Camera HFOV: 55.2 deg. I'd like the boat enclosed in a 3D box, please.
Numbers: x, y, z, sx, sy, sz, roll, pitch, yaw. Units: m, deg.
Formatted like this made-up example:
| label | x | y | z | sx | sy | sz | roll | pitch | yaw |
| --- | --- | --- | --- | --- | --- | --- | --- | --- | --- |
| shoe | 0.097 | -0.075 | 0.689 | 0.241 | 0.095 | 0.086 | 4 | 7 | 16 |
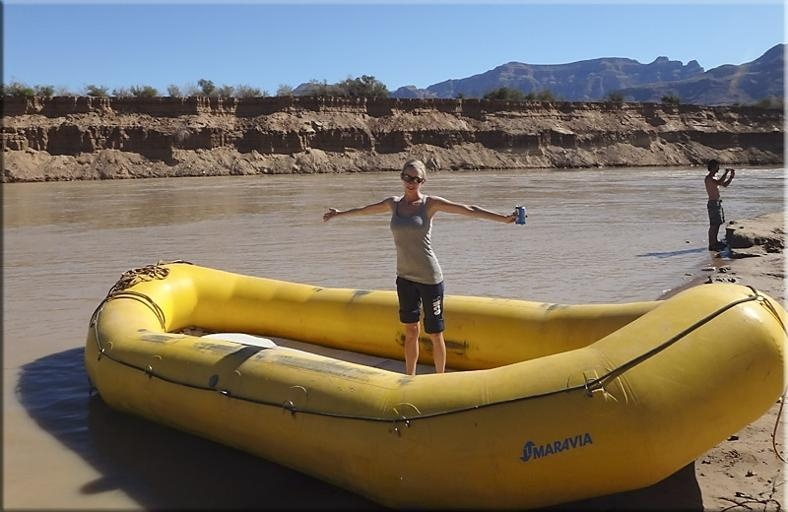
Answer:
| label | x | y | z | sx | sy | sz | roll | pitch | yaw |
| --- | --- | --- | --- | --- | --- | --- | --- | --- | --- |
| boat | -0.130 | 1.217 | 6.786 | 4.960 | 0.954 | 2.929 | 4 | 10 | 35 |
